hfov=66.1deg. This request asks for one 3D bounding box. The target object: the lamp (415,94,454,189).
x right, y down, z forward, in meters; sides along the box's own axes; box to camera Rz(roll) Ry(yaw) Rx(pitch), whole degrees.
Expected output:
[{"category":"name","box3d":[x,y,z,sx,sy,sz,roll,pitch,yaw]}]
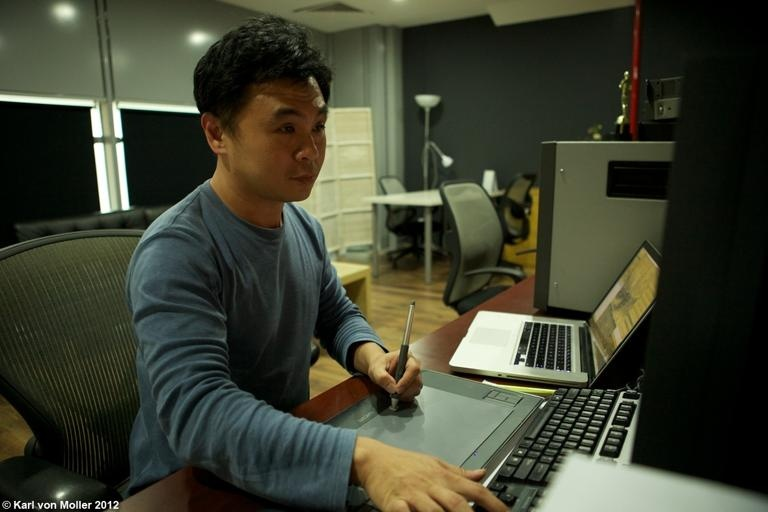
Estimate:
[{"category":"lamp","box3d":[0.549,-1.144,6.526,0.483,1.168,0.335,0,13,2]}]

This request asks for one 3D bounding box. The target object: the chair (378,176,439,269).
[{"category":"chair","box3d":[0.310,-0.376,6.029,0.603,0.914,0.584,0,4,34]}]

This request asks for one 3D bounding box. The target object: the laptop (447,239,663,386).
[{"category":"laptop","box3d":[0.402,0.103,1.348,0.423,0.254,0.420,5,14,12]}]

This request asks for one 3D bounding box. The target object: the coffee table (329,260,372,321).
[{"category":"coffee table","box3d":[-0.136,0.148,2.579,0.159,0.209,0.295,11,23,27]}]
